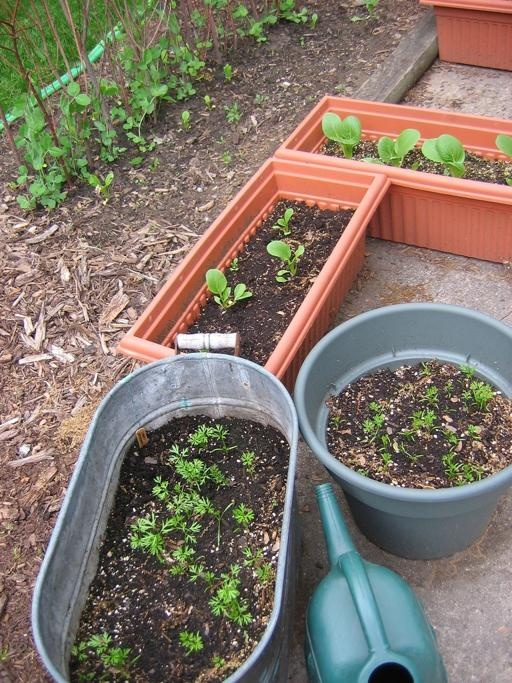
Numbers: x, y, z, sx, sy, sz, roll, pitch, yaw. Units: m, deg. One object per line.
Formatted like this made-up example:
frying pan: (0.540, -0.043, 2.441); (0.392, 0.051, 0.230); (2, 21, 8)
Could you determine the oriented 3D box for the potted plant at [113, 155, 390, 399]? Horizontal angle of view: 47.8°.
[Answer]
potted plant: (0.100, -0.233, 2.105); (0.613, 0.404, 1.147); (20, 65, 31)
